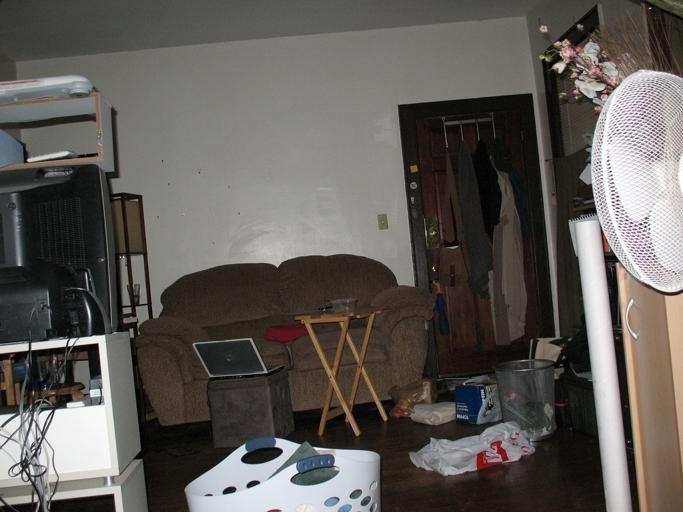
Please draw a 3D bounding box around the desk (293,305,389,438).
[{"bbox_3d":[0.031,0.730,3.900,0.504,0.718,0.699,-6,-6,19],"label":"desk"}]

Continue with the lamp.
[{"bbox_3d":[-1.591,-0.040,4.607,0.222,1.345,0.307,-2,5,-10],"label":"lamp"}]

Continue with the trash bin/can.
[{"bbox_3d":[1.011,0.795,3.351,0.330,0.370,0.326,4,-9,-43],"label":"trash bin/can"}]

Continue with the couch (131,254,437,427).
[{"bbox_3d":[-0.405,0.569,4.403,1.889,1.052,0.918,-5,1,-10],"label":"couch"}]

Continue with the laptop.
[{"bbox_3d":[-0.604,0.583,3.694,0.406,0.249,0.410,-7,5,29],"label":"laptop"}]
